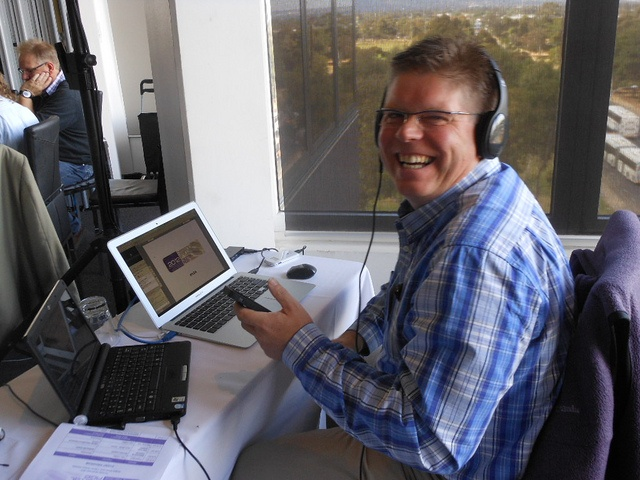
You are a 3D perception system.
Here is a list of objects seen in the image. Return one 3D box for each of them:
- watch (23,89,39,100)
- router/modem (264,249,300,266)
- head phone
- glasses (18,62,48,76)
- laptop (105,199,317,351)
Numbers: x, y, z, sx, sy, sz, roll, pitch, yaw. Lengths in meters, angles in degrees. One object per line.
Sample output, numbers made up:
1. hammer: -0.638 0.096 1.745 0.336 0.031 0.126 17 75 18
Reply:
1. watch: -2.275 -1.141 3.872 0.069 0.052 0.067 14 8 -14
2. router/modem: -0.152 0.066 1.914 0.058 0.015 0.098 19 28 33
3. head phone: 0.422 -0.360 1.341 0.102 0.264 0.287 1 8 -13
4. glasses: -2.174 -1.304 3.749 0.124 0.083 0.160 10 31 20
5. laptop: -0.306 0.151 1.566 0.479 0.301 0.495 5 34 16
